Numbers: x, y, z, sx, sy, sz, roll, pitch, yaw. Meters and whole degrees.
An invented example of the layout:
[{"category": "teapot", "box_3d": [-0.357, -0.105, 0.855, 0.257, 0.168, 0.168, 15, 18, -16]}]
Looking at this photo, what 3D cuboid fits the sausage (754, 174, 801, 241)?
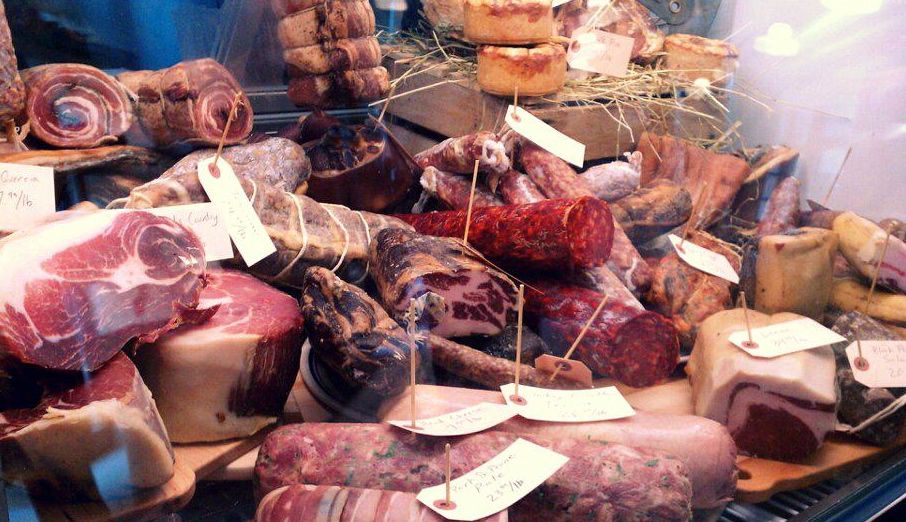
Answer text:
[{"category": "sausage", "box_3d": [1.516, -0.246, 3.014, 0.137, 0.119, 0.361, 17, 55, 19]}]
